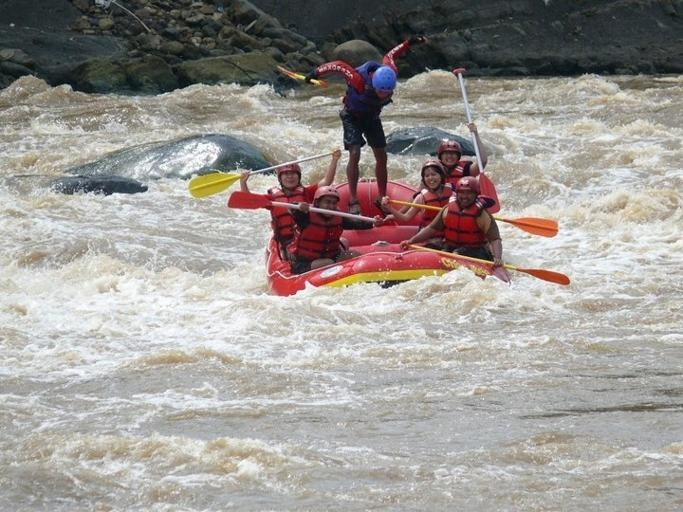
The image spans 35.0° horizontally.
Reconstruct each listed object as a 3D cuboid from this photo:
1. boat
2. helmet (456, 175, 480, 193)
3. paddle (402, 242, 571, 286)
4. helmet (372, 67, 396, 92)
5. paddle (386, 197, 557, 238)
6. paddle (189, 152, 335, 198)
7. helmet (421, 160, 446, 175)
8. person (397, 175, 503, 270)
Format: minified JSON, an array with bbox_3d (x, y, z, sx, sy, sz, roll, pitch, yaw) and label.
[{"bbox_3d":[0.263,-0.254,15.305,2.549,0.610,2.704,-2,13,0],"label":"boat"},{"bbox_3d":[1.728,-0.950,14.531,0.295,0.210,0.229,1,5,15],"label":"helmet"},{"bbox_3d":[1.888,0.131,14.534,2.538,0.191,0.114,10,54,6],"label":"paddle"},{"bbox_3d":[0.579,-2.401,14.749,0.322,0.357,0.318,-2,9,1],"label":"helmet"},{"bbox_3d":[1.784,-0.521,15.397,3.453,0.338,0.172,7,42,3],"label":"paddle"},{"bbox_3d":[-1.329,-1.253,17.042,2.166,0.203,0.059,-5,-5,0],"label":"paddle"},{"bbox_3d":[1.322,-1.264,15.501,0.313,0.212,0.241,-2,-2,4],"label":"helmet"},{"bbox_3d":[1.487,-0.421,14.864,1.868,0.894,0.923,15,31,21],"label":"person"}]
